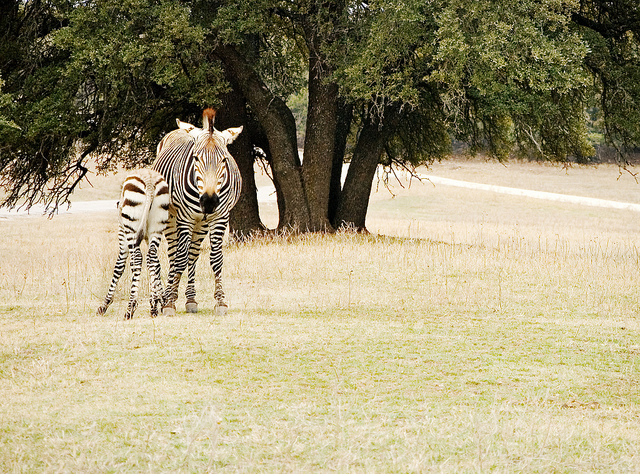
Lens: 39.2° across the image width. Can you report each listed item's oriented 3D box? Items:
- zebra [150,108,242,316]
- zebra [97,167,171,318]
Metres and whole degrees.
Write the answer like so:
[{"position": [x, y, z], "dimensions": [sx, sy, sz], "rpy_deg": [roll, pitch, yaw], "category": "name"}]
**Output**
[{"position": [-2.575, -0.279, 18.365], "dimensions": [1.492, 3.828, 5.463], "rpy_deg": [3, 0, -14], "category": "zebra"}, {"position": [-3.692, -0.153, 17.881], "dimensions": [1.042, 3.489, 3.905], "rpy_deg": [3, -1, -18], "category": "zebra"}]
